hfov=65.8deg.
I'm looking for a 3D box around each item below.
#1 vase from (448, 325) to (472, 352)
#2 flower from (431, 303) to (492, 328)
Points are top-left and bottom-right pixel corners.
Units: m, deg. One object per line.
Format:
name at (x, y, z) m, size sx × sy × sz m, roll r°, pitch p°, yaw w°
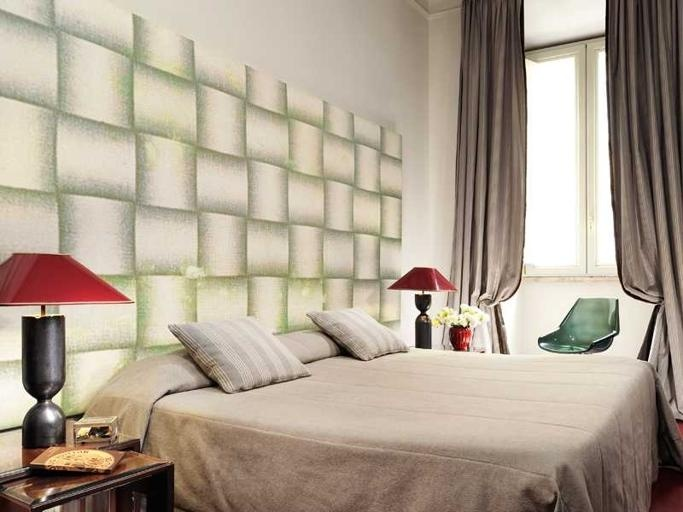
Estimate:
vase at (0.917, 0.648, 4.187) m, size 0.205 × 0.189 × 0.191 m, roll 1°, pitch -7°, yaw -3°
flower at (1.022, 0.486, 4.248) m, size 0.383 × 0.150 × 0.340 m, roll 3°, pitch -7°, yaw -37°
